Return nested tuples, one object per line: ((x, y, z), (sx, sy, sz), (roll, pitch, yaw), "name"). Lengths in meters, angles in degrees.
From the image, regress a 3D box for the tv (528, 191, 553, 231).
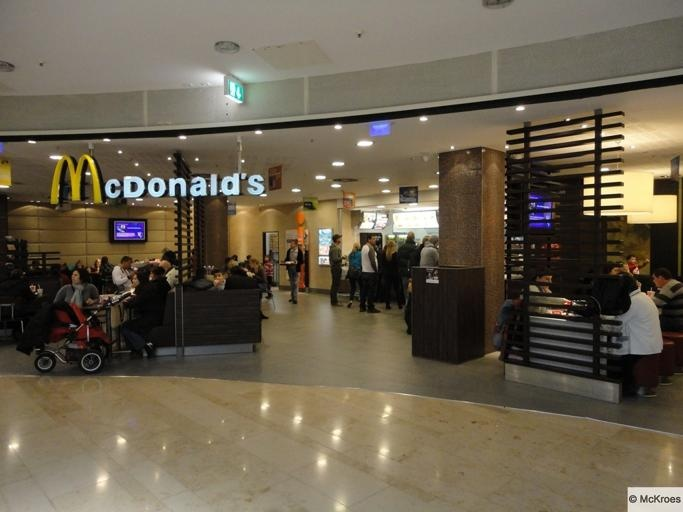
((2.884, -0.659, 7.322), (0.204, 0.708, 0.787), (3, 1, 20), "tv")

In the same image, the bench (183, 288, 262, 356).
((-1.922, 0.998, 8.479), (1.664, 1.175, 0.876), (0, -4, -7), "bench")

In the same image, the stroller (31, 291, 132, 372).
((-4.025, 1.234, 7.848), (1.374, 1.109, 0.899), (3, -4, -12), "stroller")

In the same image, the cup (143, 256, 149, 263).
((-7.278, 0.125, 18.701), (0.271, 0.200, 0.375), (0, 2, -26), "cup")

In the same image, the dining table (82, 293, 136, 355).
((-3.712, 1.086, 8.025), (0.590, 0.683, 1.057), (0, 0, 0), "dining table")
